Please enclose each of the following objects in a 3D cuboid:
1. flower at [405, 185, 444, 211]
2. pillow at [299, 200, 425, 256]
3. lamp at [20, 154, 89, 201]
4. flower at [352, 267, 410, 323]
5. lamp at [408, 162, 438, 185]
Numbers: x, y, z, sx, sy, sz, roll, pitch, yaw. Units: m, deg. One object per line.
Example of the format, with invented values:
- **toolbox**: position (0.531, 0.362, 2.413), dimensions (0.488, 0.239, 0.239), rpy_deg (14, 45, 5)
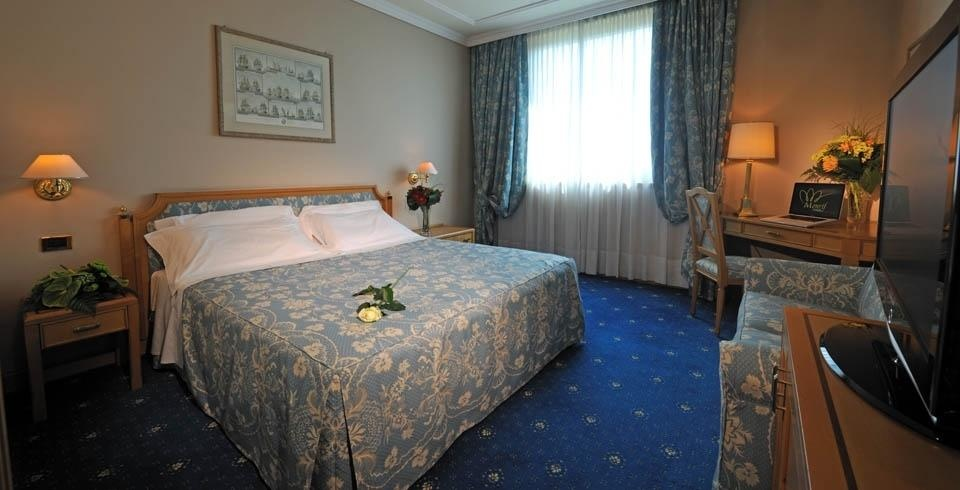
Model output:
- **flower**: position (-0.761, -0.623, 7.502), dimensions (0.382, 0.232, 0.375), rpy_deg (-17, 18, 0)
- **pillow**: position (-1.471, -0.222, 6.448), dimensions (0.849, 0.247, 0.774), rpy_deg (-11, 26, -42)
- **lamp**: position (-4.097, -0.658, 5.390), dimensions (0.553, 0.501, 0.455), rpy_deg (-1, 3, -37)
- **flower**: position (-0.915, 0.474, 5.046), dimensions (0.468, 0.261, 0.623), rpy_deg (-4, 12, -11)
- **lamp**: position (-0.753, -0.982, 7.637), dimensions (0.380, 0.313, 0.314), rpy_deg (11, 15, 37)
